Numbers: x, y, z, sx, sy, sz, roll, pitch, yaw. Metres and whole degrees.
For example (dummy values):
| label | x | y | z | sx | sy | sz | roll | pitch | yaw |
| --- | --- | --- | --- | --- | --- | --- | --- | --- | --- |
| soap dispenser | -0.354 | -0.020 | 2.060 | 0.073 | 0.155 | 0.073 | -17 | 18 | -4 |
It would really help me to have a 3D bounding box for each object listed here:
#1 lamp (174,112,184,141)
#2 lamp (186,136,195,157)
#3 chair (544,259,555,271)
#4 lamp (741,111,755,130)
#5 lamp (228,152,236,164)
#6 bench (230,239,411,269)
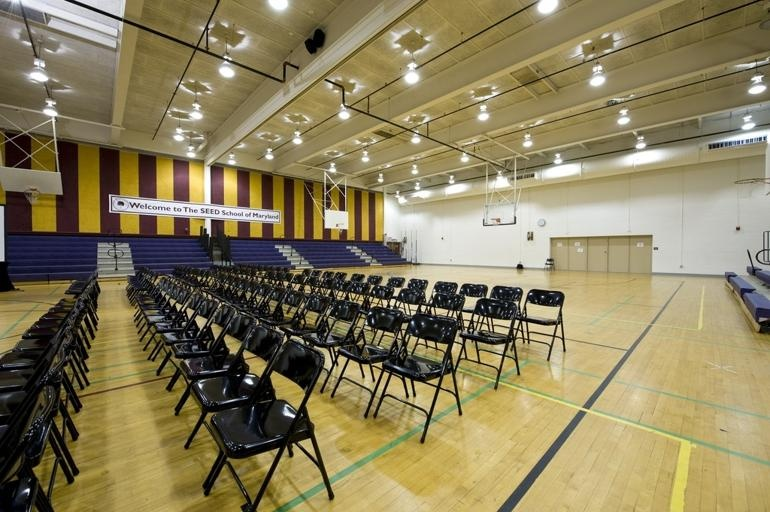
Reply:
| label | x | y | z | sx | sy | sz | roll | pitch | yaw |
| --- | --- | --- | --- | --- | --- | --- | --- | --- | --- |
| lamp | -7.427 | -4.708 | 14.874 | 0.327 | 0.704 | 0.333 | 1 | -7 | 28 |
| lamp | -7.898 | -4.418 | 16.873 | 0.307 | 0.536 | 0.717 | 1 | -2 | -27 |
| chair | 7.534 | 0.381 | 18.993 | 0.452 | 0.687 | 0.519 | -3 | -4 | 26 |
| lamp | 12.107 | -4.543 | 13.777 | 0.374 | 0.532 | 0.516 | 0 | -2 | 34 |
| lamp | -6.422 | -4.108 | 17.296 | 0.350 | 0.141 | 0.620 | 2 | -7 | -16 |
| bench | -3.340 | -0.194 | 20.581 | 8.999 | 1.524 | 2.276 | 3 | -2 | -41 |
